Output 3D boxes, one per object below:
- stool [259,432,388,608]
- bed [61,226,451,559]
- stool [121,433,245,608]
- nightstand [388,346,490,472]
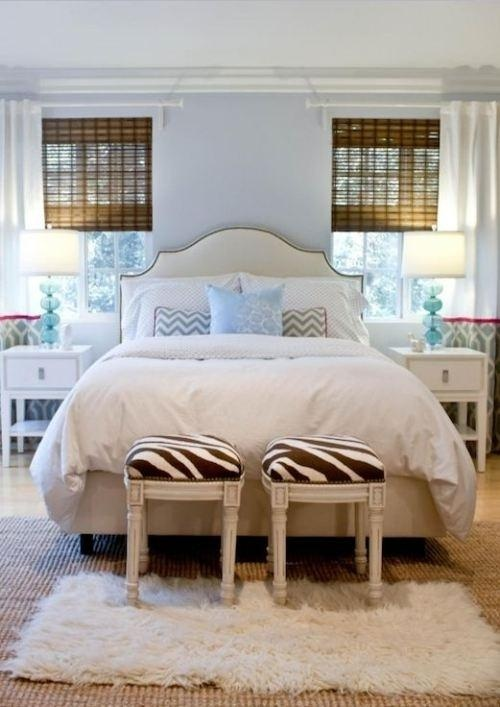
[{"bbox_3d":[0.204,0.487,2.279,0.466,0.511,0.427,1,3,1],"label":"stool"},{"bbox_3d":[0.016,0.007,3.246,1.227,1.036,1.628,0,-1,0],"label":"bed"},{"bbox_3d":[-0.182,0.474,2.149,0.432,0.489,0.444,1,-3,-1],"label":"stool"},{"bbox_3d":[1.070,0.265,3.862,0.531,0.815,0.639,0,1,3],"label":"nightstand"}]
